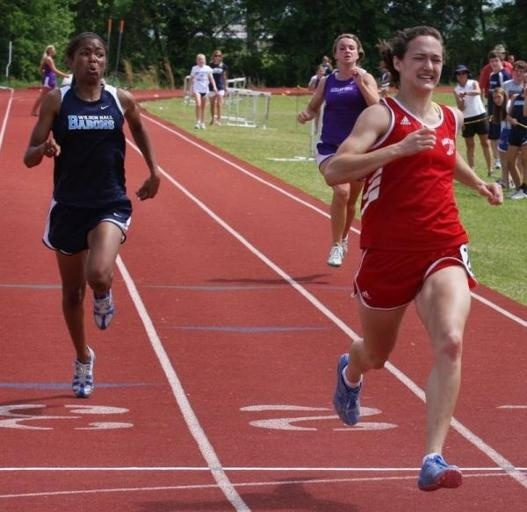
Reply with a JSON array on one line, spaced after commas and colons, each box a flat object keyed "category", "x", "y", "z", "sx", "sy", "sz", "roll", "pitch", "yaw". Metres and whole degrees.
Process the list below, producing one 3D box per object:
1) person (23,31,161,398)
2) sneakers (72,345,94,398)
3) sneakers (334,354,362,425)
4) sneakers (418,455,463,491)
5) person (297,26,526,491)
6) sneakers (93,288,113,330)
[{"category": "person", "x": -0.912, "y": -0.185, "z": 3.201, "sx": 0.597, "sy": 1.893, "sz": 0.755, "roll": 4, "pitch": 5, "yaw": 11}, {"category": "sneakers", "x": -0.982, "y": 0.600, "z": 3.368, "sx": 0.101, "sy": 0.280, "sz": 0.118, "roll": -2, "pitch": 4, "yaw": -1}, {"category": "sneakers", "x": 0.390, "y": 0.594, "z": 2.805, "sx": 0.108, "sy": 0.324, "sz": 0.138, "roll": -8, "pitch": 13, "yaw": -20}, {"category": "sneakers", "x": 0.509, "y": 0.632, "z": 1.843, "sx": 0.076, "sy": 0.103, "sz": 0.216, "roll": 9, "pitch": -29, "yaw": -5}, {"category": "person", "x": 0.517, "y": -0.010, "z": 2.280, "sx": 0.631, "sy": 1.742, "sz": 1.111, "roll": 3, "pitch": 5, "yaw": 5}, {"category": "sneakers", "x": -0.795, "y": 0.293, "z": 3.209, "sx": 0.080, "sy": 0.236, "sz": 0.094, "roll": -5, "pitch": 22, "yaw": -7}]
